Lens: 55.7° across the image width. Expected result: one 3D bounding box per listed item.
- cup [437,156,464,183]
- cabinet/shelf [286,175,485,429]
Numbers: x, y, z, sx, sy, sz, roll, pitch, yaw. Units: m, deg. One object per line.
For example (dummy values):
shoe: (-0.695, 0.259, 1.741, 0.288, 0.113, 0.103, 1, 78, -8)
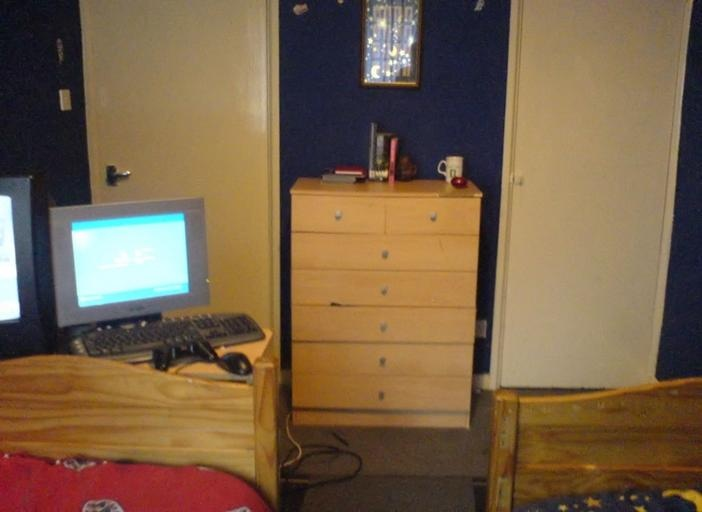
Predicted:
cup: (0.555, -0.490, 3.723, 0.174, 0.184, 0.118, -3, 16, -1)
cabinet/shelf: (0.174, 0.164, 3.809, 0.991, 1.416, 0.729, 2, 25, 3)
